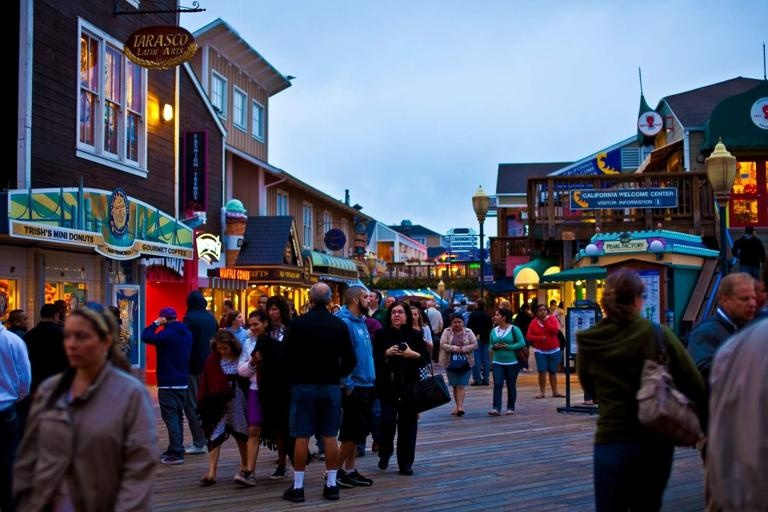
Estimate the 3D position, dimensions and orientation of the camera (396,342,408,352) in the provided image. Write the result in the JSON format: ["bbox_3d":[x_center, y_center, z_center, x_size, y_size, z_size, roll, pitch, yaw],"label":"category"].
[{"bbox_3d":[0.263,1.339,15.314,0.121,0.096,0.119,0,-1,4],"label":"camera"}]

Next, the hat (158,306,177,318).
[{"bbox_3d":[-3.480,0.906,16.666,0.218,0.187,0.305,-4,10,-24],"label":"hat"}]

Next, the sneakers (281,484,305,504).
[{"bbox_3d":[-1.221,3.228,14.110,0.289,0.143,0.144,2,-1,41],"label":"sneakers"}]

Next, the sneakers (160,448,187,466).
[{"bbox_3d":[-3.244,3.079,16.011,0.376,0.176,0.169,6,0,-4],"label":"sneakers"}]

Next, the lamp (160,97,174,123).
[{"bbox_3d":[-4.862,-3.223,23.300,0.072,0.345,0.328,6,-1,17],"label":"lamp"}]

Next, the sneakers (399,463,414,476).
[{"bbox_3d":[0.310,3.116,15.215,0.211,0.222,0.115,-1,0,16],"label":"sneakers"}]

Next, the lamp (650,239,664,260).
[{"bbox_3d":[5.863,-0.144,22.468,0.337,0.434,0.339,-5,-7,35],"label":"lamp"}]

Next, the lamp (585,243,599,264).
[{"bbox_3d":[4.714,-0.077,23.623,0.358,0.578,0.377,-2,-2,8],"label":"lamp"}]

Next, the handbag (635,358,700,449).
[{"bbox_3d":[3.052,1.607,11.519,0.355,0.844,0.845,-13,-35,29],"label":"handbag"}]

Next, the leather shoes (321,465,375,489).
[{"bbox_3d":[-0.455,3.132,14.784,0.546,0.237,0.291,2,7,-3],"label":"leather shoes"}]

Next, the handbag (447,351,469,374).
[{"bbox_3d":[1.423,2.047,20.174,0.379,0.485,0.138,0,-17,2],"label":"handbag"}]

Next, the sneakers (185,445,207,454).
[{"bbox_3d":[-3.012,3.091,16.668,0.351,0.189,0.130,2,-3,3],"label":"sneakers"}]
